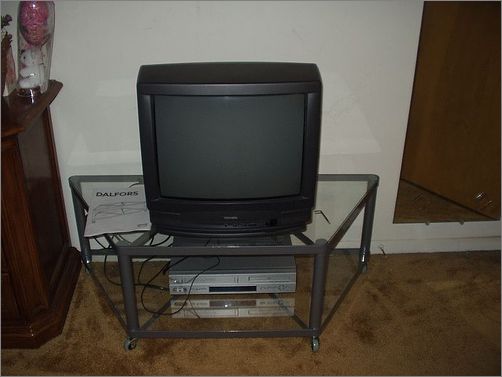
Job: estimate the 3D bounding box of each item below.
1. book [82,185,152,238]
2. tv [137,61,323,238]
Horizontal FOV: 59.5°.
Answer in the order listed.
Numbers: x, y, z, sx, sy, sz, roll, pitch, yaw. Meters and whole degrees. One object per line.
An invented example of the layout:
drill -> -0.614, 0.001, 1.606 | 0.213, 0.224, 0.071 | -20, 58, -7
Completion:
book -> -0.651, 0.115, 2.165 | 0.250, 0.052, 0.299 | -2, 40, -12
tv -> -0.096, -0.137, 2.225 | 0.999, 1.026, 0.638 | 0, 27, 1
